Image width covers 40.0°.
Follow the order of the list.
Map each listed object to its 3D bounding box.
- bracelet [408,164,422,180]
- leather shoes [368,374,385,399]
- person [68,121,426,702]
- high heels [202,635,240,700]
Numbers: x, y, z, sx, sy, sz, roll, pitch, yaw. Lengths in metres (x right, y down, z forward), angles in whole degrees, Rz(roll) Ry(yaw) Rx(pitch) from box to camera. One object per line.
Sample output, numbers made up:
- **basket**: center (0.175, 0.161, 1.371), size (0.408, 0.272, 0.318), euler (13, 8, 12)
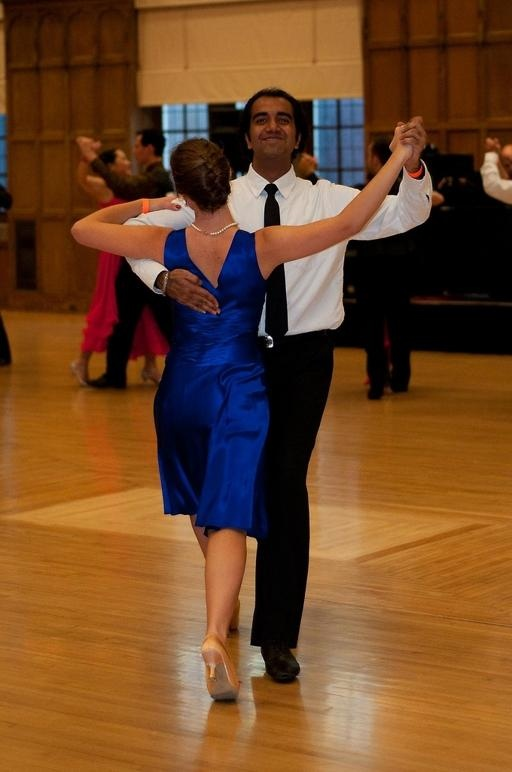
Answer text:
- **bracelet**: center (0.373, -0.505, 1.665), size (0.025, 0.022, 0.029), euler (4, 20, 31)
- **leather shoes**: center (1.051, 0.017, 6.363), size (0.176, 0.280, 0.191), euler (1, 1, 2)
- **person**: center (-0.086, 0.038, 1.502), size (0.706, 1.182, 0.395), euler (0, -1, 25)
- **high heels**: center (-0.044, 0.540, 1.354), size (0.061, 0.164, 0.078), euler (-3, 50, 10)
